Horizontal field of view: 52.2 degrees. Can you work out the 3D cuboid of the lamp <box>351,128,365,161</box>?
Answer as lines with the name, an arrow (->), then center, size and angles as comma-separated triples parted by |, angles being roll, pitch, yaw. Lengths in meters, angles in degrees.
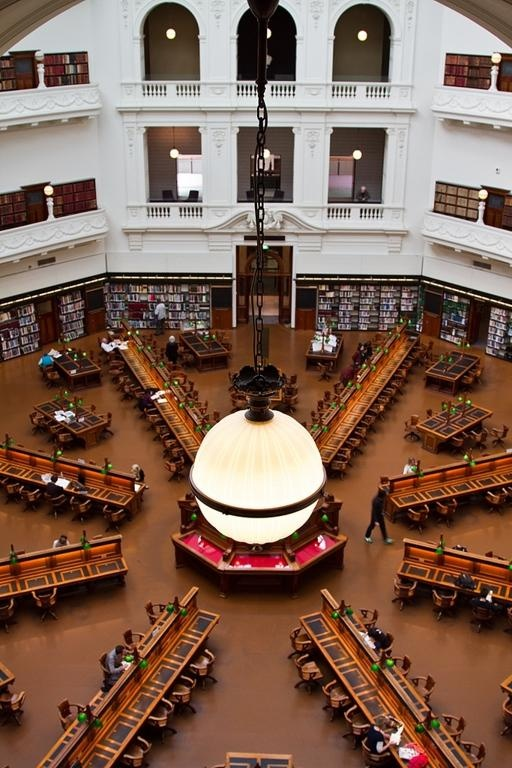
lamp -> 4.568, -10.557, 23.071 | 0.715, 1.372, 0.373 | 1, 15, 10

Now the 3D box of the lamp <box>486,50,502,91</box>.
lamp -> 7.975, -10.356, 17.475 | 0.327, 1.162, 0.874 | 4, 16, 21

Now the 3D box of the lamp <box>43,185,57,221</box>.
lamp -> -7.374, -6.524, 18.762 | 0.338, 1.267, 0.613 | -6, 16, -19

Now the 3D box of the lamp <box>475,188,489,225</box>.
lamp -> 8.072, -6.327, 18.635 | 0.337, 1.210, 0.393 | 4, 16, 20

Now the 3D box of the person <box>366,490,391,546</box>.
person -> 2.792, 2.969, 11.815 | 0.595, 1.340, 0.628 | 0, 15, 6

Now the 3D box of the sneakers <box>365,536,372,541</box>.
sneakers -> 2.579, 3.558, 11.969 | 0.180, 0.064, 0.080 | 30, -15, 31

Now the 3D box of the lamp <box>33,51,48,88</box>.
lamp -> -7.206, -10.511, 17.568 | 0.328, 1.162, 0.759 | -6, 16, -19
